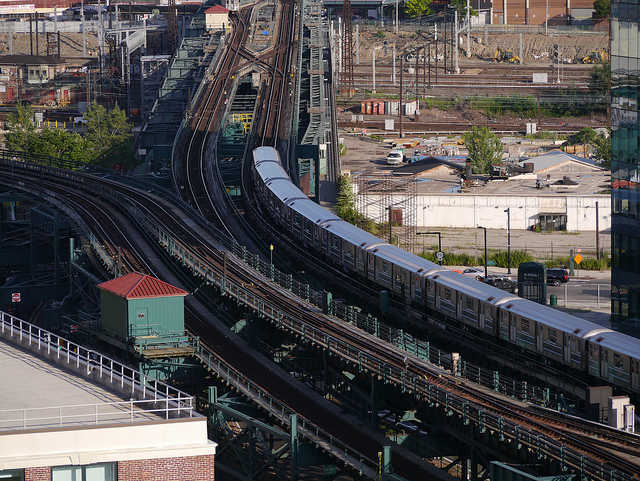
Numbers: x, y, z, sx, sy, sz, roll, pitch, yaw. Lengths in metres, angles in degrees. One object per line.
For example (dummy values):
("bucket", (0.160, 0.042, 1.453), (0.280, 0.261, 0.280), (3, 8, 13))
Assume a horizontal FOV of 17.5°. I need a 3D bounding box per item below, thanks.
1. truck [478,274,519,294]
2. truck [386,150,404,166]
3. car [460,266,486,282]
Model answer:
("truck", (22.748, 5.206, 265.617), (4.744, 1.805, 2.192), (0, 10, 9))
("truck", (11.921, -13.516, 332.201), (2.329, 2.215, 4.535), (1, 5, 3))
("car", (19.887, 3.723, 268.753), (2.009, 1.356, 4.120), (-8, 8, -30))
